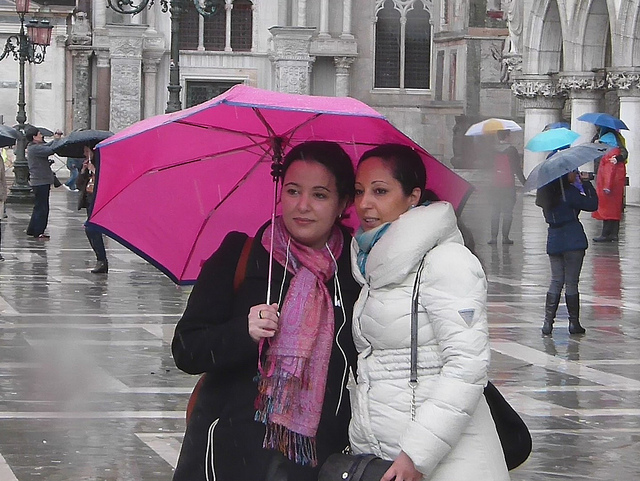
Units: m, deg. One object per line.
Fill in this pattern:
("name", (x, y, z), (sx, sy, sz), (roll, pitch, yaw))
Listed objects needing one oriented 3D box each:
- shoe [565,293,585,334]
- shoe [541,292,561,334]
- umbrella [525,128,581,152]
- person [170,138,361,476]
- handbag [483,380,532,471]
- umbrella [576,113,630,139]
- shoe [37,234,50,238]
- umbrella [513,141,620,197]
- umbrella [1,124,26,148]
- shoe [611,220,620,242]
("shoe", (2.665, 0.749, 11.981), (0.206, 0.402, 0.161), (1, 8, 4))
("shoe", (2.411, 0.738, 12.049), (0.167, 0.415, 0.326), (2, 8, 11))
("umbrella", (2.538, -1.106, 12.762), (0.394, 0.115, 0.371), (-25, 9, -17))
("person", (-0.249, 0.306, 5.335), (0.848, 1.559, 0.507), (1, 8, -1))
("handbag", (0.854, 0.839, 5.238), (0.205, 0.470, 0.265), (3, 8, 13))
("umbrella", (4.616, -1.963, 18.752), (0.635, 0.347, 0.606), (20, 3, -14))
("shoe", (-4.824, -0.094, 20.247), (0.124, 0.056, 0.225), (5, 8, 34))
("umbrella", (2.505, -0.740, 11.778), (0.807, 0.510, 0.754), (2, 7, 9))
("umbrella", (-5.230, -1.782, 19.490), (0.269, 0.334, 1.534), (-1, 7, -15))
("shoe", (5.248, -0.200, 20.466), (0.141, 0.396, 0.368), (3, 8, 14))
